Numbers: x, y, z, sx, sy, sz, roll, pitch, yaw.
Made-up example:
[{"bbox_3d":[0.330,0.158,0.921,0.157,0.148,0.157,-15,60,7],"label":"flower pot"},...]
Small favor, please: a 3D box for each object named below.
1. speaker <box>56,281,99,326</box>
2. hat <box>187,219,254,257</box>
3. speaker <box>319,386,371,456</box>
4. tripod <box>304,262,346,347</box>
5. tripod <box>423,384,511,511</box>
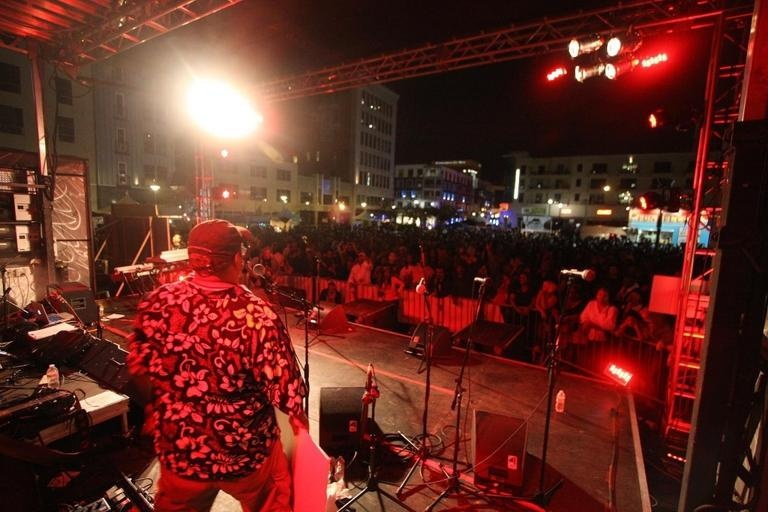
[{"bbox_3d":[-7.471,1.153,13.014,0.787,0.696,0.445,18,24,34],"label":"speaker"},{"bbox_3d":[-2.416,-0.291,7.885,0.750,0.430,0.535,-17,27,-33],"label":"hat"},{"bbox_3d":[-0.839,3.010,10.376,0.816,1.137,0.622,3,33,-6],"label":"speaker"},{"bbox_3d":[-1.810,1.273,14.631,1.420,2.259,1.253,-10,-14,34],"label":"tripod"},{"bbox_3d":[1.542,3.641,10.029,1.601,2.179,1.618,10,-13,-32],"label":"tripod"}]
